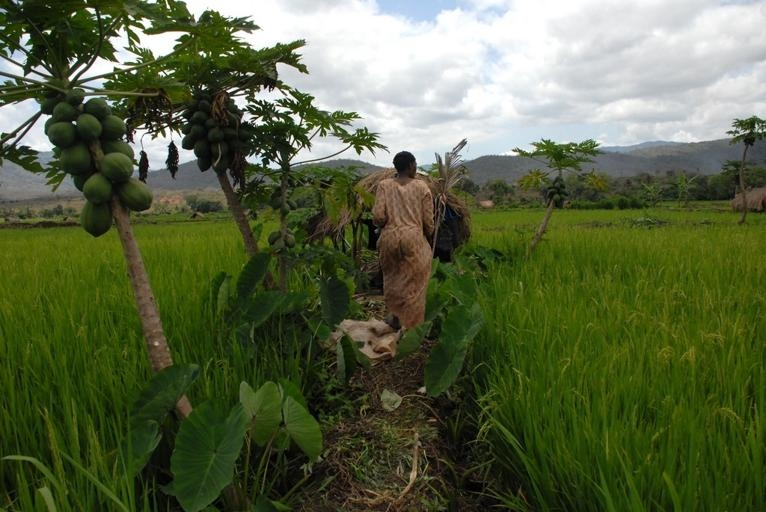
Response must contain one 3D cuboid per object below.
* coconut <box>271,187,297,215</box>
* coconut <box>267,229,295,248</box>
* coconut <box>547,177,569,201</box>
[{"bbox_3d":[-0.811,-0.438,4.010,0.159,0.089,0.276,0,26,-11],"label":"coconut"},{"bbox_3d":[-0.832,-0.133,4.106,0.207,0.141,0.205,-2,7,-13],"label":"coconut"},{"bbox_3d":[2.687,-1.009,7.713,0.291,0.388,0.375,10,11,-6],"label":"coconut"}]
